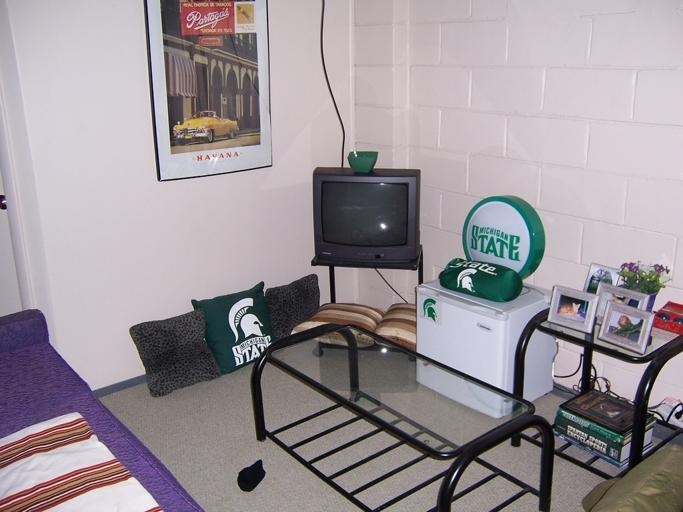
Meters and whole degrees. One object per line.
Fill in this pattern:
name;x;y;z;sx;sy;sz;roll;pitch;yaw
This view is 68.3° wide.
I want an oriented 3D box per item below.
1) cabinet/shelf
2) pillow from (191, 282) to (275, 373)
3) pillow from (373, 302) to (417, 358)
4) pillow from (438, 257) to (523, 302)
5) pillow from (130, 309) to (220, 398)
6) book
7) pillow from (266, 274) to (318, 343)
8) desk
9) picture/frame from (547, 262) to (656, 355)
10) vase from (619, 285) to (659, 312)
cabinet/shelf;1.224;0.656;2.397;0.584;0.661;0.589;-16;24;-37
pillow;-0.725;0.485;3.287;0.447;0.416;0.229;-26;32;-30
pillow;0.401;0.484;3.384;0.206;0.080;0.296;7;25;18
pillow;0.780;0.139;2.861;0.401;0.150;0.215;15;69;45
pillow;-1.053;0.607;3.152;0.496;0.505;0.163;-18;15;-27
book;1.246;0.801;2.379;0.352;0.172;0.366;1;9;1
pillow;-0.364;0.371;3.565;0.117;0.392;0.389;7;18;41
desk;0.181;0.290;3.307;0.601;0.566;0.340;3;10;17
picture/frame;1.221;0.263;2.381;0.452;0.243;0.222;16;25;41
vase;1.361;0.183;2.309;0.135;0.098;0.143;-6;10;-36
